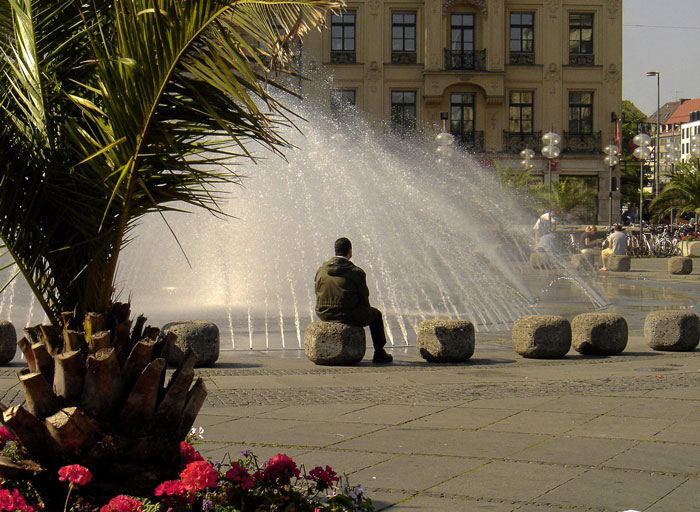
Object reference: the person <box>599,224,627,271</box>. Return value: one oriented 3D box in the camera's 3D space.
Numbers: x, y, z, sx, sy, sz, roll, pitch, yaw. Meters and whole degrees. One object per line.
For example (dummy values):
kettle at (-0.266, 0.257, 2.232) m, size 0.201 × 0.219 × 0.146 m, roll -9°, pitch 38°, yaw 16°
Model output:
person at (8.484, -0.275, 28.393) m, size 0.702 × 1.178 × 1.234 m, roll 2°, pitch 1°, yaw 5°

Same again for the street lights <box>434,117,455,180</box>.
street lights at (3.532, -4.288, 32.793) m, size 0.723 × 2.193 × 0.720 m, roll -15°, pitch 17°, yaw -43°

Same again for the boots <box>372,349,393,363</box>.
boots at (0.425, 1.321, 11.705) m, size 0.221 × 0.216 × 0.148 m, roll -7°, pitch 10°, yaw -25°

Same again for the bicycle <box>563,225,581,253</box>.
bicycle at (9.516, -0.701, 37.979) m, size 0.767 × 0.857 × 2.975 m, roll 2°, pitch 1°, yaw 13°

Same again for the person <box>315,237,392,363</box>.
person at (0.030, 0.584, 11.653) m, size 1.001 × 1.638 × 0.555 m, roll 2°, pitch 1°, yaw -4°
